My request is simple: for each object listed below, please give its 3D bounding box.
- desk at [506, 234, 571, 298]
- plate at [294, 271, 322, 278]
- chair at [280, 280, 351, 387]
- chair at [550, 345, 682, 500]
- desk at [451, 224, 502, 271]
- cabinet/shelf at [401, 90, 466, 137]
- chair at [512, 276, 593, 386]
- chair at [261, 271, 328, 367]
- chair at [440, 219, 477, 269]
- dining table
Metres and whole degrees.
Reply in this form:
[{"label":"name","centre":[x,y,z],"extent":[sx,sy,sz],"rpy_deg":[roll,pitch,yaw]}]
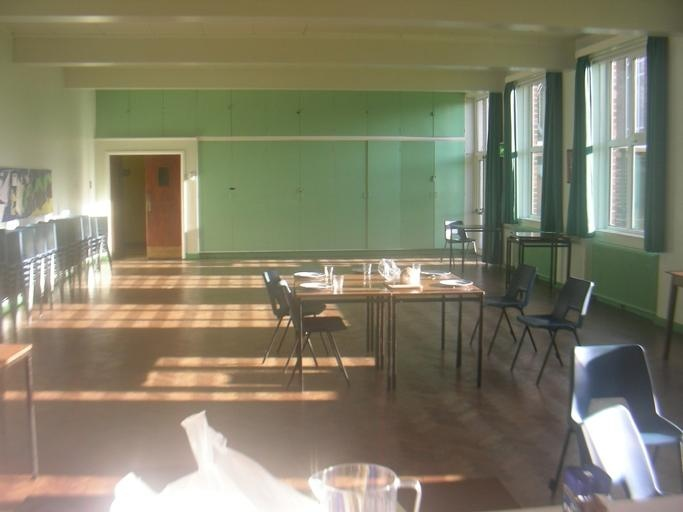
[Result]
[{"label":"desk","centre":[3.417,0.066,9.110],"extent":[0.860,0.987,1.071],"rpy_deg":[3,11,4]},{"label":"plate","centre":[-0.384,0.199,5.447],"extent":[0.247,0.047,0.205],"rpy_deg":[-1,-2,38]},{"label":"chair","centre":[-0.324,0.729,5.273],"extent":[0.827,1.307,0.792],"rpy_deg":[-1,5,-6]},{"label":"chair","centre":[1.607,0.820,3.012],"extent":[0.619,0.559,0.366],"rpy_deg":[0,8,0]},{"label":"desk","centre":[2.835,-0.382,11.299],"extent":[1.236,1.256,1.006],"rpy_deg":[0,1,-1]},{"label":"cabinet/shelf","centre":[2.190,-3.548,12.971],"extent":[1.004,0.978,0.375],"rpy_deg":[0,2,-3]},{"label":"chair","centre":[2.036,0.712,5.102],"extent":[0.690,0.950,0.635],"rpy_deg":[-4,8,-30]},{"label":"chair","centre":[-0.575,0.650,5.754],"extent":[0.835,1.328,0.883],"rpy_deg":[-2,4,-3]},{"label":"chair","centre":[2.465,-0.287,11.025],"extent":[0.553,0.996,0.643],"rpy_deg":[-3,0,-17]},{"label":"dining table","centre":[0.483,0.638,5.644],"extent":[1.922,0.958,1.963],"rpy_deg":[-1,8,-3]}]
